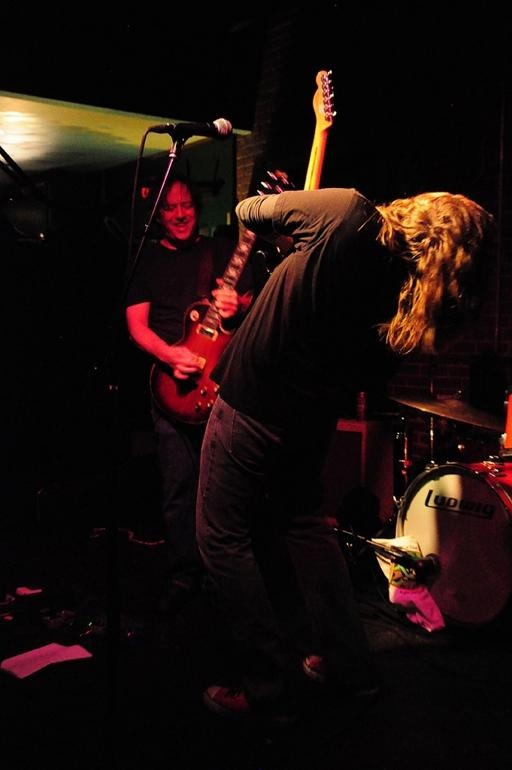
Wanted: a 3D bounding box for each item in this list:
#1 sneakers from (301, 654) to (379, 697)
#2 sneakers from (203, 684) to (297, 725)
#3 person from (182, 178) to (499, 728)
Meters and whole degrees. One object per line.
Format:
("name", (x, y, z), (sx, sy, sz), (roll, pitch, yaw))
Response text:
("sneakers", (0.252, 0.842, 2.036), (0.170, 0.045, 0.124), (15, -16, 38))
("sneakers", (-0.030, 0.899, 1.981), (0.268, 0.107, 0.099), (9, -16, 16))
("person", (0.221, 0.204, 1.946), (0.787, 1.465, 0.511), (-1, 7, -6))
